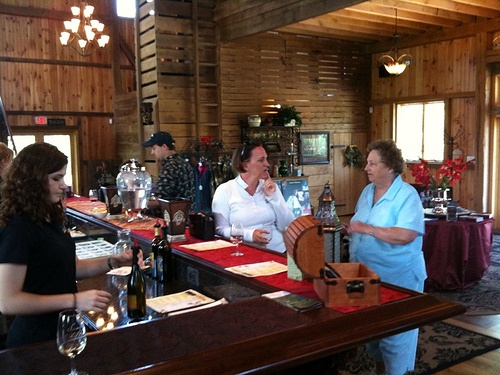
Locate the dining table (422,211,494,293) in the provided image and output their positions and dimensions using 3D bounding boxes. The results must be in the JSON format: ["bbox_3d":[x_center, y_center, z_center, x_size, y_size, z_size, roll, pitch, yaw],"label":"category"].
[{"bbox_3d":[2.729,0.827,5.402,1.227,0.896,0.985,-8,14,-35],"label":"dining table"}]

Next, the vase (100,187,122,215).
[{"bbox_3d":[-1.367,0.164,3.958,0.250,0.281,0.241,5,-8,-13],"label":"vase"}]

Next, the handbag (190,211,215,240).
[{"bbox_3d":[-0.405,0.321,3.222,0.246,0.208,0.165,1,2,45],"label":"handbag"}]

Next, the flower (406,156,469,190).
[{"bbox_3d":[2.873,-0.159,5.656,0.918,0.502,0.728,-4,-2,-12],"label":"flower"}]

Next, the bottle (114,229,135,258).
[{"bbox_3d":[-0.930,0.398,2.740,0.164,0.226,0.157,1,2,0],"label":"bottle"}]

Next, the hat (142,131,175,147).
[{"bbox_3d":[-1.172,-0.616,4.801,0.331,0.169,0.200,-4,7,-4],"label":"hat"}]

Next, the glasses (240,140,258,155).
[{"bbox_3d":[0.004,-0.356,3.446,0.159,0.131,0.211,1,9,10],"label":"glasses"}]

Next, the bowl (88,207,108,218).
[{"bbox_3d":[-1.643,0.267,4.135,0.159,0.038,0.155,7,6,-1],"label":"bowl"}]

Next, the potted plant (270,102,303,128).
[{"bbox_3d":[0.836,-1.658,8.527,0.540,0.463,0.535,-9,14,-38],"label":"potted plant"}]

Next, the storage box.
[{"bbox_3d":[0.411,0.342,1.987,0.409,0.396,0.429,-3,5,-4],"label":"storage box"}]
